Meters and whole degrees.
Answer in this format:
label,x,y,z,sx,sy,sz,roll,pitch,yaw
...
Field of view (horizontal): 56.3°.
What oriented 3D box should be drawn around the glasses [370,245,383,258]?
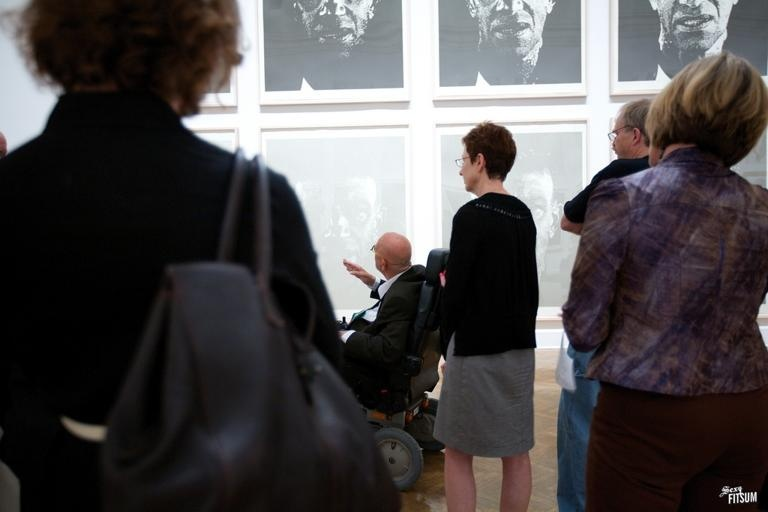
label,x,y,z,sx,sy,sz,roll,pitch,yaw
glasses,-0.056,-0.032,4.910,0.120,0.039,0.120,14,3,1
